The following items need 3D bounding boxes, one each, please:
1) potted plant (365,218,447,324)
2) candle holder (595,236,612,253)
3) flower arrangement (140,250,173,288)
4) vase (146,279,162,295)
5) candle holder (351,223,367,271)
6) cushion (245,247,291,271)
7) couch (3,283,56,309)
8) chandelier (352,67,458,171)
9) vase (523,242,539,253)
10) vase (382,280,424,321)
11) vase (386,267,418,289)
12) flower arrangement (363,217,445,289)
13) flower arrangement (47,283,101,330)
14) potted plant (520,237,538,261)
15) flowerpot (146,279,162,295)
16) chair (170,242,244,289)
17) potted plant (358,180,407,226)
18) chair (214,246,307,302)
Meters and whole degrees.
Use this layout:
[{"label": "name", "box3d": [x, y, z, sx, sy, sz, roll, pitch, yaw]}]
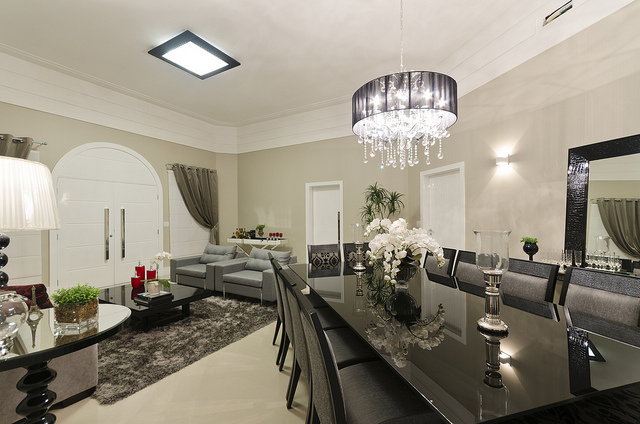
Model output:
[{"label": "potted plant", "box3d": [0.817, 0.585, 3.696, 0.581, 0.754, 0.642, -1, -8, 41]}, {"label": "candle holder", "box3d": [3.187, 0.351, 4.307, 0.185, 0.195, 0.137, 5, -2, -13]}, {"label": "flower arrangement", "box3d": [-2.785, 0.961, 6.433, 0.660, 0.683, 0.571, 10, -12, -34]}, {"label": "vase", "box3d": [-2.249, 1.018, 5.125, 0.174, 0.138, 0.177, 3, -12, -19]}, {"label": "candle holder", "box3d": [0.479, 0.430, 4.692, 0.209, 0.554, 0.206, -3, -1, -35]}, {"label": "cushion", "box3d": [-0.933, 0.832, 6.627, 0.365, 0.369, 1.072, -1, -3, -41]}, {"label": "couch", "box3d": [-3.442, 0.974, 4.481, 0.411, 0.242, 1.210, 0, -3, -40]}, {"label": "chandelier", "box3d": [1.246, -1.264, 5.187, 1.377, 1.543, 1.412, -6, -10, 32]}, {"label": "vase", "box3d": [2.607, 0.446, 4.702, 0.120, 0.142, 0.128, 4, -13, -19]}, {"label": "vase", "box3d": [0.769, 0.812, 3.476, 0.285, 0.283, 0.282, 10, -18, -41]}, {"label": "vase", "box3d": [0.819, 0.654, 3.772, 0.238, 0.253, 0.236, 12, -17, -39]}, {"label": "flower arrangement", "box3d": [0.746, 0.372, 3.801, 0.630, 0.742, 0.685, 6, 1, -23]}, {"label": "flower arrangement", "box3d": [-2.195, 0.839, 3.407, 0.386, 0.386, 0.312, 4, 3, -36]}, {"label": "potted plant", "box3d": [2.607, 0.481, 4.850, 0.282, 0.339, 0.285, -5, -10, 38]}, {"label": "flowerpot", "box3d": [-2.236, 1.022, 5.139, 0.166, 0.133, 0.170, 0, -12, -2]}, {"label": "chair", "box3d": [-2.144, 1.026, 7.361, 1.097, 0.756, 1.058, 3, 1, 33]}, {"label": "potted plant", "box3d": [1.220, -0.080, 7.626, 0.976, 1.083, 0.539, -15, 2, 26]}, {"label": "chair", "box3d": [-1.064, 1.028, 6.627, 1.316, 0.742, 0.973, 2, 2, 27]}]
